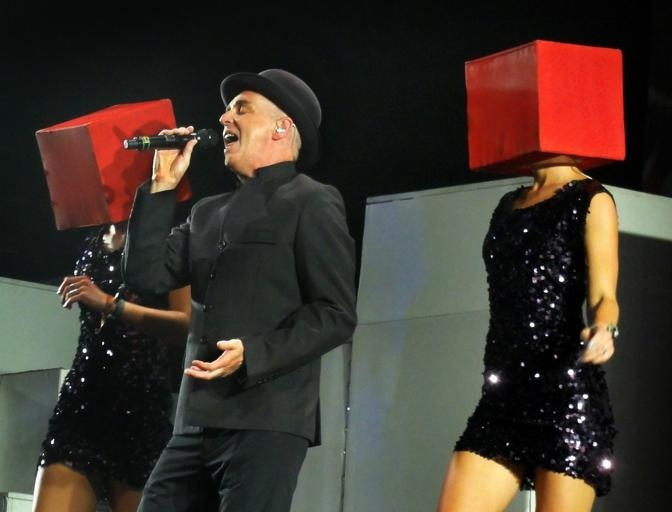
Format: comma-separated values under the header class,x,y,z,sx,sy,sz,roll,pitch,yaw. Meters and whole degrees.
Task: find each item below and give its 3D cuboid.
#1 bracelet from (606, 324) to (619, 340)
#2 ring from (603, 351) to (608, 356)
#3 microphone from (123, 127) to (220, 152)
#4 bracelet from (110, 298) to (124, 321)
class,x,y,z,sx,sy,sz,roll,pitch,yaw
bracelet,0.824,0.226,2.443,0.021,0.035,0.167,0,-4,24
ring,0.768,0.278,2.340,0.013,0.010,0.003,4,-5,-26
microphone,-0.612,-0.430,2.973,0.320,0.092,0.085,-7,-21,-33
bracelet,-0.882,0.216,3.335,0.054,0.078,0.068,8,-11,-10
